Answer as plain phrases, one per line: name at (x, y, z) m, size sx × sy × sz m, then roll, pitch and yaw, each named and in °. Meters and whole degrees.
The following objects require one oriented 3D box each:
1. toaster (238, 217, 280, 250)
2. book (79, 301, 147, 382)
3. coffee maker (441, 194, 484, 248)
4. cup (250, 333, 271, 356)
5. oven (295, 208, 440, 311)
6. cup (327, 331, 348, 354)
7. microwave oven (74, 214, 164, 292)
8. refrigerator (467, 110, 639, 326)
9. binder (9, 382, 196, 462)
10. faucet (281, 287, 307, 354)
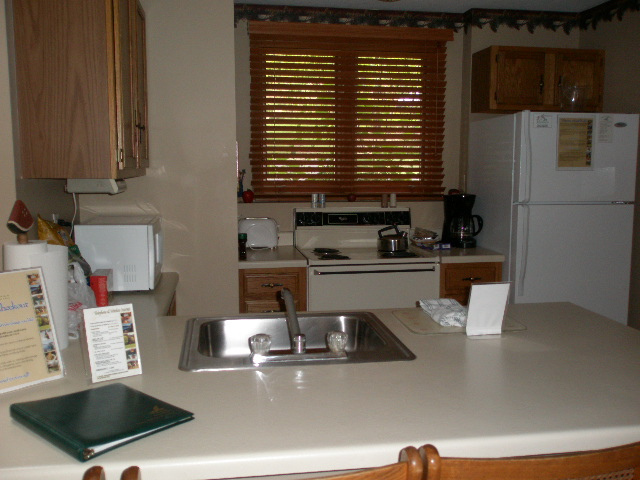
toaster at (-0.465, -0.093, 4.053) m, size 0.358 × 0.312 × 0.213 m, roll -1°, pitch 4°, yaw -13°
book at (-0.642, 0.313, 1.672) m, size 0.165 × 0.233 × 0.165 m, roll -5°, pitch 16°, yaw -21°
coffee maker at (1.073, -0.143, 4.052) m, size 0.421 × 0.462 × 0.274 m, roll -2°, pitch 9°, yaw -4°
cup at (-0.201, 0.341, 1.787) m, size 0.066 × 0.070 × 0.072 m, roll 2°, pitch 8°, yaw 0°
oven at (0.325, 0.109, 3.899) m, size 0.963 × 0.566 × 0.735 m, roll -1°, pitch 15°, yaw -8°
cup at (0.058, 0.354, 1.839) m, size 0.067 × 0.062 × 0.066 m, roll -1°, pitch 5°, yaw 0°
microwave oven at (-1.043, 0.050, 2.848) m, size 0.364 × 0.337 × 0.529 m, roll -1°, pitch 7°, yaw -13°
refrigerator at (1.670, -0.177, 3.781) m, size 1.102 × 1.441 × 0.659 m, roll 4°, pitch 15°, yaw 13°
binder at (-0.594, 0.479, 1.444) m, size 0.435 × 0.047 × 0.265 m, roll 10°, pitch 17°, yaw 31°
faucet at (-0.104, 0.278, 1.916) m, size 0.059 × 0.106 × 0.275 m, roll -1°, pitch 41°, yaw -8°
